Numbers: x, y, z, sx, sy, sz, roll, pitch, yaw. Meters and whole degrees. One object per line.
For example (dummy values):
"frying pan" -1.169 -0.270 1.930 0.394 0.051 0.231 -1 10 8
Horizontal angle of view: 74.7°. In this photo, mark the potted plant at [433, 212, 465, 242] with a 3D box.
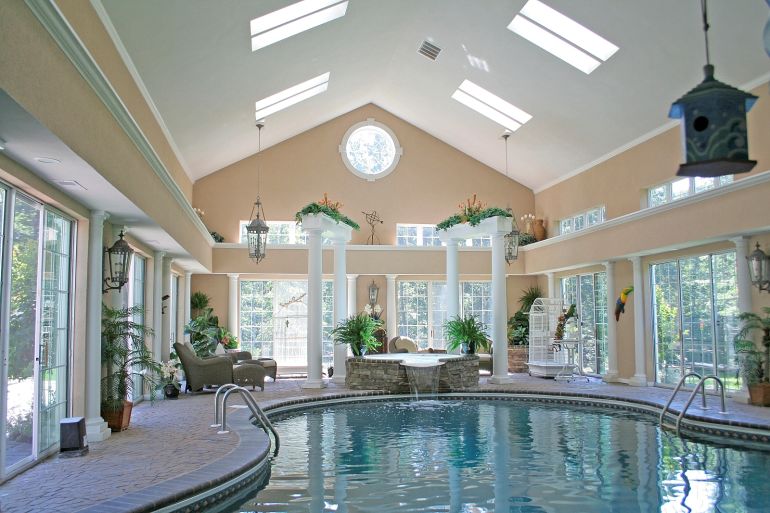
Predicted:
"potted plant" 1.920 -0.917 15.248 0.919 0.416 0.911 -22 -5 -11

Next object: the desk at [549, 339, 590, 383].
"desk" 5.540 3.118 15.098 1.151 1.307 1.170 3 -8 -9

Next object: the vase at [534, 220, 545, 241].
"vase" 5.500 -0.973 17.876 0.398 0.806 0.240 -5 -10 30

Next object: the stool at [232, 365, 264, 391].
"stool" -3.392 2.904 12.653 0.805 0.625 0.579 1 1 -14

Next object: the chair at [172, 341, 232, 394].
"chair" -4.461 2.705 12.461 1.366 1.243 1.040 -1 -5 -18

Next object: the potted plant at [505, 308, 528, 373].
"potted plant" 4.594 2.918 17.341 0.732 2.015 0.952 -2 -9 13

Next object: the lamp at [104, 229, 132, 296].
"lamp" -4.505 0.041 8.507 0.409 1.114 0.919 4 -10 -28

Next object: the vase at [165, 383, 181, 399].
"vase" -4.882 3.104 11.693 0.331 0.310 0.333 -4 -7 17

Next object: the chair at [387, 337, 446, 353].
"chair" 0.834 2.700 15.400 1.449 0.487 0.655 6 -11 -36

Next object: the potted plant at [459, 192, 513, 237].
"potted plant" 2.731 -1.255 14.791 1.696 0.588 1.679 0 -3 -7

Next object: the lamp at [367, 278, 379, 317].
"lamp" -0.361 1.475 17.491 0.394 1.323 0.390 0 -8 -1

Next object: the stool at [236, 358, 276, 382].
"stool" -3.333 3.067 13.975 0.925 0.679 0.910 3 -13 -20

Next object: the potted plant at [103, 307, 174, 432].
"potted plant" -4.509 1.959 8.622 1.156 2.062 1.361 -8 -17 -8

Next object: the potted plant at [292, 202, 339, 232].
"potted plant" -1.809 -1.014 13.298 0.758 0.505 1.075 -1 -4 9

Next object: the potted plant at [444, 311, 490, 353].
"potted plant" 2.308 2.195 14.490 1.231 0.973 1.250 1 -1 31

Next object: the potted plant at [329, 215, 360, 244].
"potted plant" -1.149 -0.718 13.968 0.750 0.327 1.018 4 -5 -29
